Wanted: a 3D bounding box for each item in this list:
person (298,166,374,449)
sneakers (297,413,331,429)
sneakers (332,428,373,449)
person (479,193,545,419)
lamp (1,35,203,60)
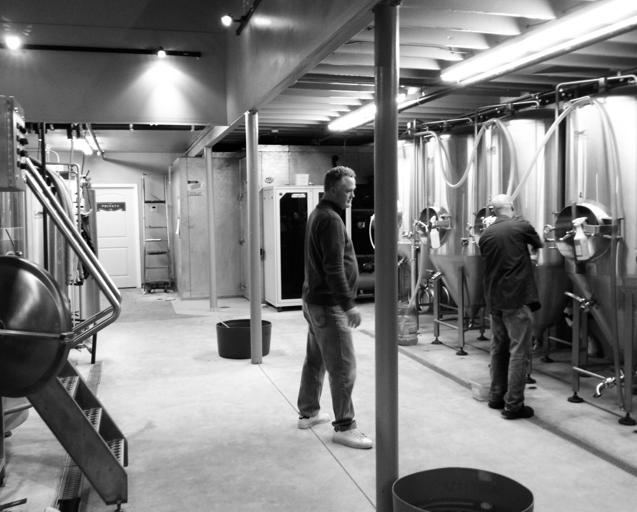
[{"bbox_3d":[0.108,0.383,4.170,0.401,2.081,0.805,-3,5,-28],"label":"person"},{"bbox_3d":[-0.050,1.345,4.623,0.288,0.118,0.099,-3,4,-27],"label":"sneakers"},{"bbox_3d":[0.254,1.365,4.195,0.307,0.126,0.112,1,2,28],"label":"sneakers"},{"bbox_3d":[1.696,0.416,4.896,0.407,1.894,0.536,-2,4,-14],"label":"person"},{"bbox_3d":[-2.892,-2.810,7.514,2.568,0.190,0.085,-2,4,-14],"label":"lamp"}]
